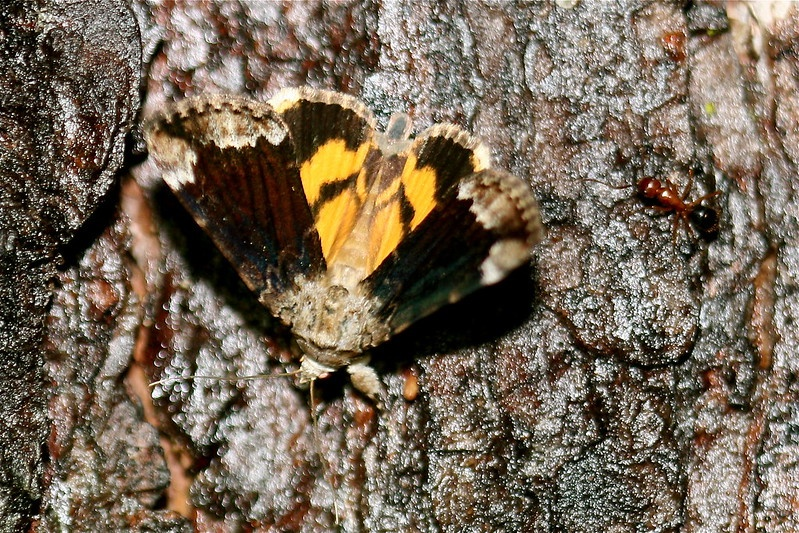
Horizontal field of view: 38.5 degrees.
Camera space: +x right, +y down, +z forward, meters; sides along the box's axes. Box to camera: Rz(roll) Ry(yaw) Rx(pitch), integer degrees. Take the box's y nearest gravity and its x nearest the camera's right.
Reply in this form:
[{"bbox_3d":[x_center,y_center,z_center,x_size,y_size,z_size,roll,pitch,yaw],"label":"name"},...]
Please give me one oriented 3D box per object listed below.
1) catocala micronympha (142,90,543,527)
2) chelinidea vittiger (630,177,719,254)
[{"bbox_3d":[-0.298,-0.459,6.650,1.669,0.849,1.897,-36,86,-4],"label":"catocala micronympha"},{"bbox_3d":[1.777,-0.381,7.218,0.382,0.203,0.588,-39,87,-4],"label":"chelinidea vittiger"}]
